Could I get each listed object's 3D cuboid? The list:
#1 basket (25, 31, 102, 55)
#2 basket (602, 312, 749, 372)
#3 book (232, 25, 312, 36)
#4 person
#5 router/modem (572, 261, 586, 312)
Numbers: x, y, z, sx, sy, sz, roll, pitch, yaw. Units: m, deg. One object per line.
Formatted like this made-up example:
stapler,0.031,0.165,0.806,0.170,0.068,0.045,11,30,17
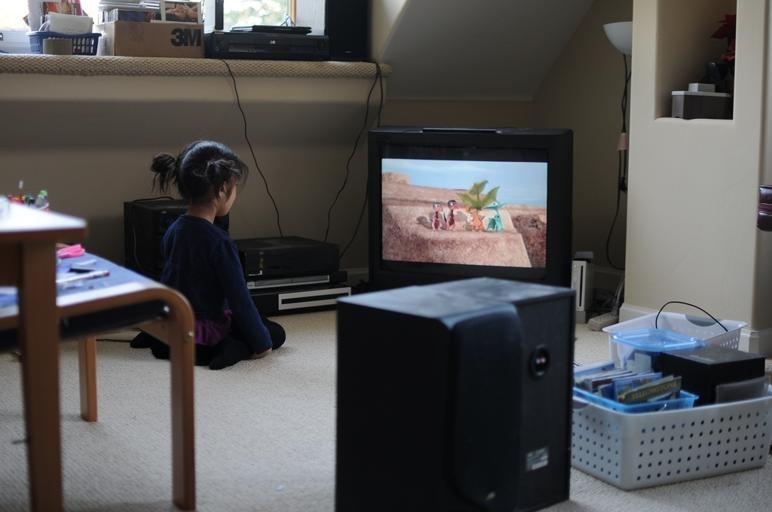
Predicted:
basket,-1.683,-1.117,3.286,0.345,0.127,0.212,-4,15,-18
basket,1.093,0.322,2.409,0.377,0.124,0.526,13,19,42
book,-0.658,-1.303,3.593,0.451,0.059,0.138,-3,14,-13
person,-0.800,-0.045,3.080,0.747,0.944,0.671,15,14,36
router/modem,1.109,0.153,3.518,0.104,0.305,0.063,-1,-4,-38
